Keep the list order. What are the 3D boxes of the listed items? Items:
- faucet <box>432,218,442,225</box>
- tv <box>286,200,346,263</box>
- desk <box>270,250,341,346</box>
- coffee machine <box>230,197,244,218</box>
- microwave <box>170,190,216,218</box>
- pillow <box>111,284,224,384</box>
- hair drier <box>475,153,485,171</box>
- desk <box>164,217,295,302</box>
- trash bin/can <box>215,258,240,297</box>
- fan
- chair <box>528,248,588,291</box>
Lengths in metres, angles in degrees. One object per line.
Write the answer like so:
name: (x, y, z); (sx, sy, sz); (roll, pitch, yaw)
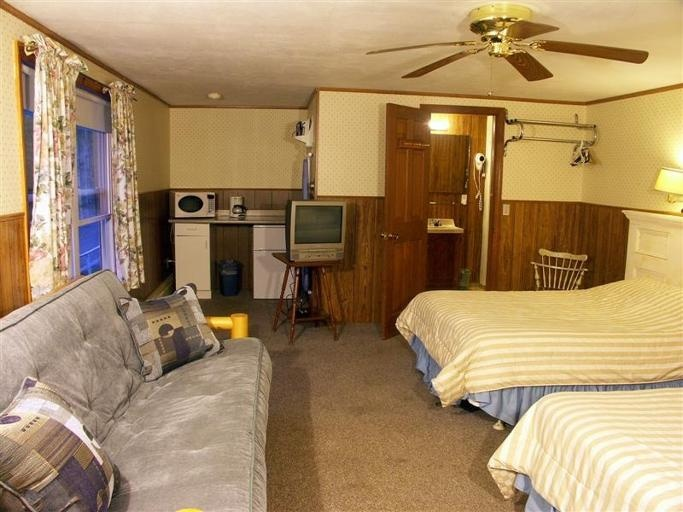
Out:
faucet: (1.385, -0.483, 7.284); (0.074, 0.039, 0.106); (4, 22, -1)
tv: (-0.302, -0.240, 5.349); (0.600, 0.652, 0.387); (-2, 5, -21)
desk: (-0.456, 0.456, 5.767); (0.731, 0.824, 0.727); (-10, 8, -25)
coffee machine: (-1.465, -0.690, 7.121); (0.217, 0.275, 0.229); (0, 13, -7)
microwave: (-1.938, -0.662, 6.683); (0.531, 0.345, 0.348); (-2, 6, -29)
pillow: (-1.104, 0.482, 3.305); (0.555, 0.539, 0.164); (-13, -6, -13)
hair drier: (2.005, -1.338, 7.253); (0.165, 0.223, 0.114); (0, 12, 4)
desk: (-1.552, -0.006, 6.972); (1.451, 1.110, 0.727); (1, 10, -18)
trash bin/can: (-1.503, 0.302, 6.957); (0.446, 0.571, 0.423); (-1, 7, -10)
fan: (1.046, -1.354, 3.226); (0.912, 0.161, 0.901); (-2, 7, -23)
chair: (2.442, 0.353, 5.693); (0.520, 0.772, 0.521); (8, 7, 23)
